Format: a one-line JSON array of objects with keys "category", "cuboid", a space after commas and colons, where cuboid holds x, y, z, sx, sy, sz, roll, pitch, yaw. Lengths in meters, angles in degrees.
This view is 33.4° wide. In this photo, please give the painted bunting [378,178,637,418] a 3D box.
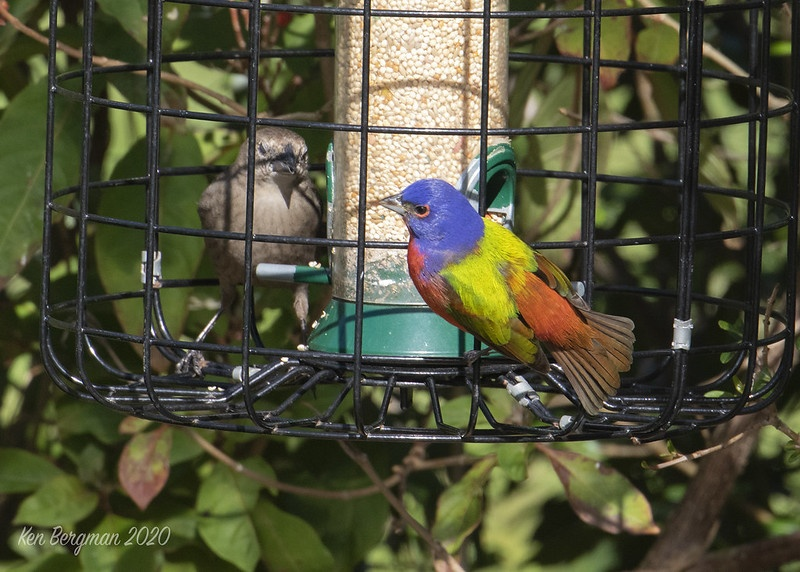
[{"category": "painted bunting", "cuboid": [0.429, 0.031, 5.386, 0.775, 1.036, 1.220, 0, 1, 30]}]

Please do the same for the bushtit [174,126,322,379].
[{"category": "bushtit", "cuboid": [-0.683, -0.215, 6.360, 0.808, 1.104, 1.438, 4, 8, -16]}]

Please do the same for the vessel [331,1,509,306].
[{"category": "vessel", "cuboid": [0.048, -0.643, 5.794, 0.667, 1.368, 0.741, -7, 10, -28]}]
